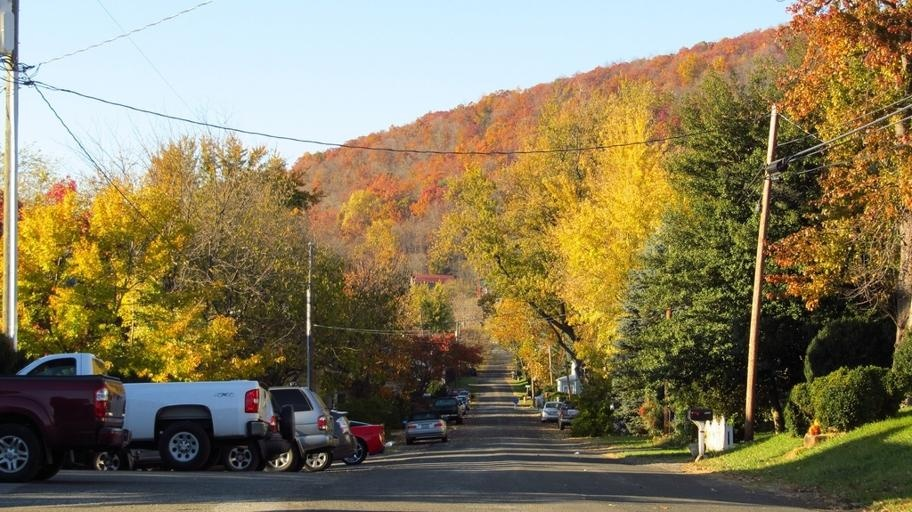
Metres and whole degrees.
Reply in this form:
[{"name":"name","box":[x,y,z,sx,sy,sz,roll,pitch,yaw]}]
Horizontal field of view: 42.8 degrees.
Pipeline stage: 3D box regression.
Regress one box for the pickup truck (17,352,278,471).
[{"name":"pickup truck","box":[-11.186,6.190,44.852,8.397,3.416,4.843,1,-9,1]}]
